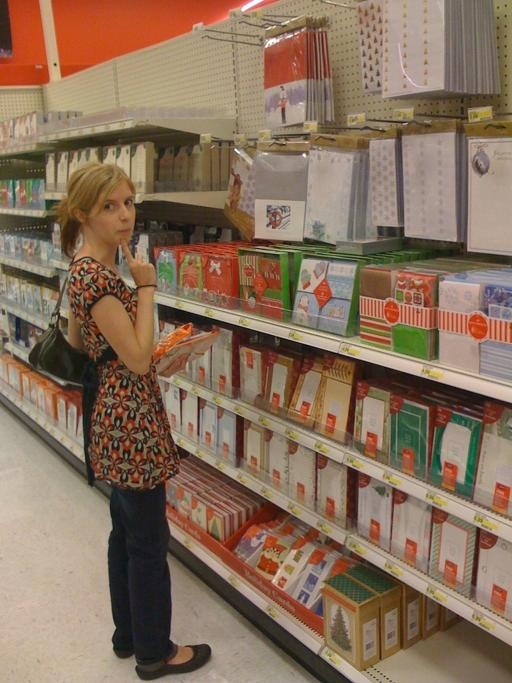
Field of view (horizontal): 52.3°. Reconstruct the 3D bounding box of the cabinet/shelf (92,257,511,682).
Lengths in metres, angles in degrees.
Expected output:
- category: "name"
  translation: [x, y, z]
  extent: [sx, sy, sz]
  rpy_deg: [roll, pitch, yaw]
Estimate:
- category: "cabinet/shelf"
  translation: [0.146, 0.448, 1.712]
  extent: [0.438, 0.532, 1.497]
  rpy_deg: [-11, 21, -33]
